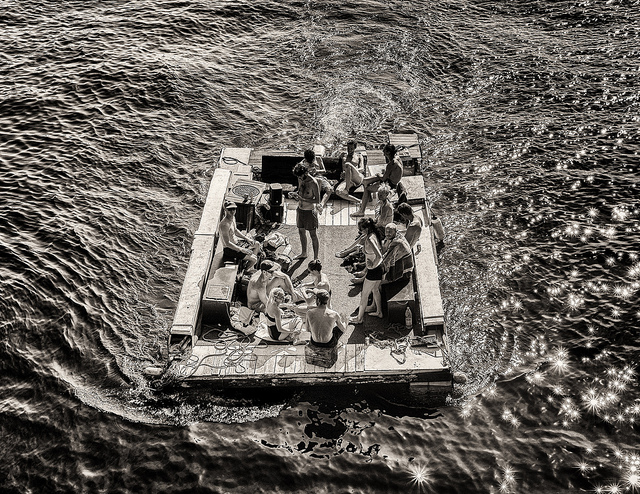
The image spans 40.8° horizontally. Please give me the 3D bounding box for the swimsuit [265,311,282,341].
[{"bbox_3d":[-1.812,3.103,33.308,0.644,0.970,0.963,-2,40,3],"label":"swimsuit"}]

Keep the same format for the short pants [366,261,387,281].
[{"bbox_3d":[2.288,1.022,33.138,0.952,0.539,0.502,-30,72,-10],"label":"short pants"}]

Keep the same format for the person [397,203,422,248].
[{"bbox_3d":[3.670,-0.748,34.721,0.739,1.830,0.764,24,65,23],"label":"person"}]

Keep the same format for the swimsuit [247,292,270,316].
[{"bbox_3d":[-2.414,2.393,34.617,0.762,0.959,0.796,5,90,-3],"label":"swimsuit"}]

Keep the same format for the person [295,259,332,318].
[{"bbox_3d":[-0.202,1.772,33.614,1.381,2.051,1.028,5,52,2],"label":"person"}]
